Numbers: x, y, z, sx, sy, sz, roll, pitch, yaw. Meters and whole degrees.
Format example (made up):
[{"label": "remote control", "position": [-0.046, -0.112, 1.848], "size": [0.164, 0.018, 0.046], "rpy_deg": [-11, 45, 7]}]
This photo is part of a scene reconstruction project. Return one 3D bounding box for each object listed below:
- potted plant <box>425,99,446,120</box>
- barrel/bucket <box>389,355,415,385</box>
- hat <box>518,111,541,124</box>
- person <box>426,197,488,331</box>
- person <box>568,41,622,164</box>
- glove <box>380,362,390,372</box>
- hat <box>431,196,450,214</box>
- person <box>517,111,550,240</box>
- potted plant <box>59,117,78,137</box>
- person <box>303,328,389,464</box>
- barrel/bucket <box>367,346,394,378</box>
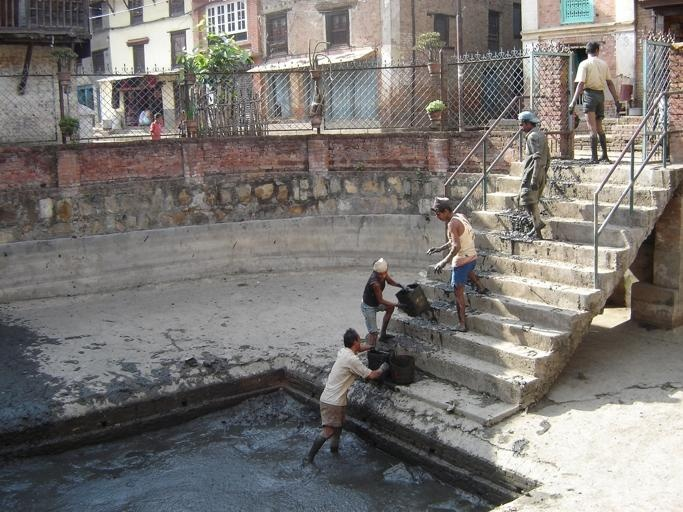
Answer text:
[{"label": "potted plant", "position": [2.258, -3.464, 14.463], "size": [0.429, 0.522, 0.437], "rpy_deg": [-1, 12, 2]}, {"label": "barrel/bucket", "position": [0.896, 1.672, 8.979], "size": [0.378, 0.331, 0.327], "rpy_deg": [8, 35, 13]}, {"label": "hat", "position": [3.011, -2.196, 9.670], "size": [0.289, 0.182, 0.261], "rpy_deg": [-3, 7, -13]}, {"label": "person", "position": [1.887, 0.078, 9.569], "size": [0.845, 2.005, 1.049], "rpy_deg": [1, 12, 14]}, {"label": "person", "position": [4.614, -2.799, 11.086], "size": [0.797, 2.136, 0.710], "rpy_deg": [1, 12, 16]}, {"label": "glove", "position": [0.629, 1.620, 8.895], "size": [0.107, 0.127, 0.114], "rpy_deg": [-24, 7, -32]}, {"label": "hat", "position": [1.566, -0.790, 9.407], "size": [0.254, 0.213, 0.411], "rpy_deg": [1, 12, 15]}, {"label": "person", "position": [3.112, -1.297, 9.852], "size": [0.392, 2.051, 0.535], "rpy_deg": [6, 14, 34]}, {"label": "potted plant", "position": [-6.233, -2.931, 13.900], "size": [0.384, 0.488, 0.417], "rpy_deg": [7, 10, 29]}, {"label": "person", "position": [0.047, 1.874, 8.426], "size": [0.687, 1.681, 1.334], "rpy_deg": [5, 14, 31]}, {"label": "barrel/bucket", "position": [0.541, 1.529, 9.149], "size": [0.441, 0.622, 0.319], "rpy_deg": [0, 0, 37]}]
